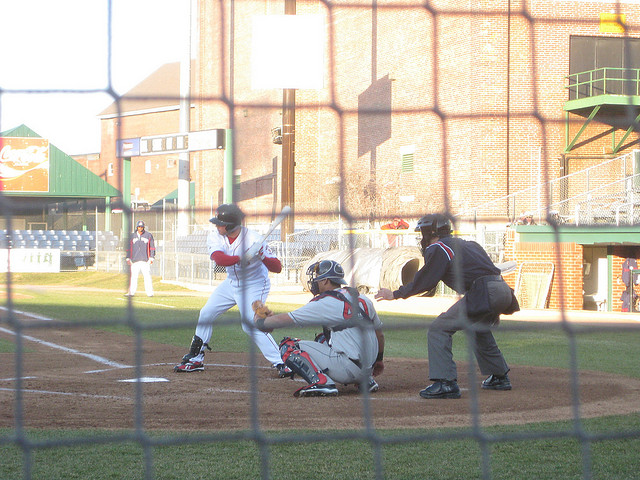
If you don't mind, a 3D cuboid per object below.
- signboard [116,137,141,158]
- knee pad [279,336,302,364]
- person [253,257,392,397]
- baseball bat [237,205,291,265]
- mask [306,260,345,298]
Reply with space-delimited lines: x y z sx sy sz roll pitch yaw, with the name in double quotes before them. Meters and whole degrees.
"signboard" -1.807 -0.894 12.545 0.053 0.206 0.226 11 10 41
"knee pad" -0.310 1.121 13.758 0.236 0.254 0.197 13 -23 -6
"person" 0.110 0.932 13.931 1.535 1.403 1.121 -1 -2 -10
"baseball bat" -0.618 -0.085 13.790 0.157 0.118 0.891 -2 31 31
"mask" 0.011 0.377 13.447 0.398 0.357 0.321 7 -1 12
